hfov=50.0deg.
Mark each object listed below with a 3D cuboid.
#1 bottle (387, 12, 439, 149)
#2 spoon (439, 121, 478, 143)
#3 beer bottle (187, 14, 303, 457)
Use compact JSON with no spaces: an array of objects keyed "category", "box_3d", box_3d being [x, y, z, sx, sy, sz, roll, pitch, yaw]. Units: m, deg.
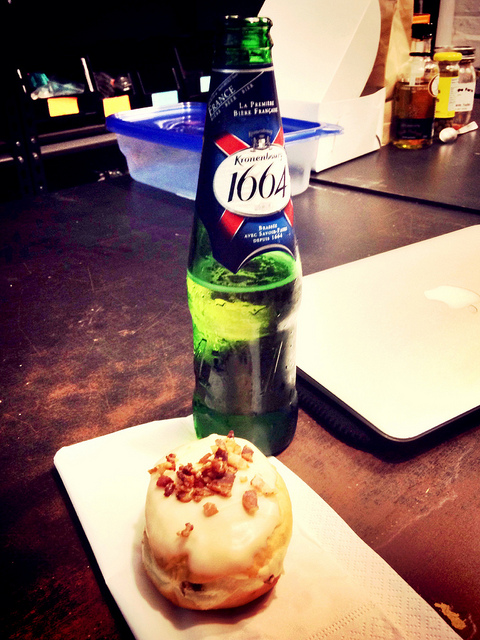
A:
[{"category":"bottle","box_3d":[0.433,-0.579,1.268,0.111,0.291,0.116,-3,35,2]},{"category":"spoon","box_3d":[0.587,-0.507,1.398,0.134,0.040,0.041,-32,82,-31]},{"category":"beer bottle","box_3d":[-0.001,-0.044,0.366,0.086,0.285,0.127,0,36,6]}]
